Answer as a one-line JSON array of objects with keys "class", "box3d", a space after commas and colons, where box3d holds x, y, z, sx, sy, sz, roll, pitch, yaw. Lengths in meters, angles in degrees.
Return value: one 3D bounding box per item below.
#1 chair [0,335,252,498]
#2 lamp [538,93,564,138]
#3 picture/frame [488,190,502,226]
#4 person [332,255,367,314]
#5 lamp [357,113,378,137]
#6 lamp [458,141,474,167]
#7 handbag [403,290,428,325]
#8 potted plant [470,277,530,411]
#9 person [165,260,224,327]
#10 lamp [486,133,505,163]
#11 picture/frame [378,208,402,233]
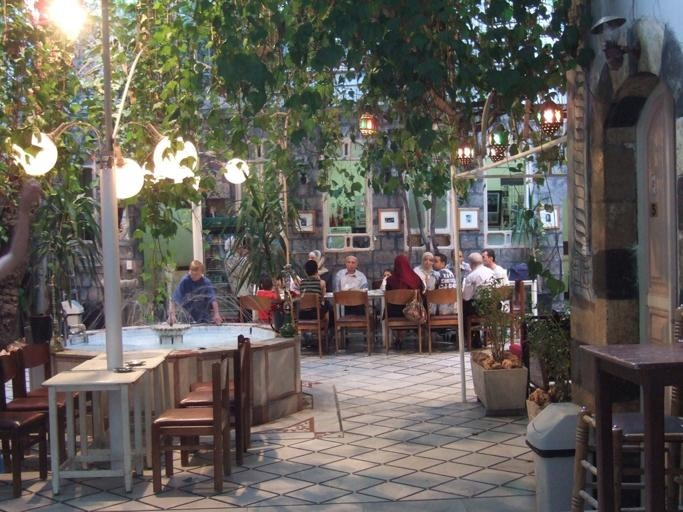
[{"class": "chair", "box3d": [-1.846, 1.356, 7.324, 1.370, 1.087, 1.442, -4, 12, -21]}, {"class": "lamp", "box3d": [1.798, -1.200, 7.354, 0.230, 0.387, 0.561, 3, 12, 14]}, {"class": "picture/frame", "box3d": [2.888, -0.889, 16.186, 0.271, 0.635, 0.235, 0, 11, 1]}, {"class": "person", "box3d": [0.140, 0.528, 13.206, 0.419, 1.078, 0.538, 1, 14, -4]}, {"class": "lamp", "box3d": [0.257, -1.281, 8.377, 0.173, 0.282, 0.191, 0, 1, -7]}, {"class": "lamp", "box3d": [1.314, -1.072, 9.070, 0.149, 0.282, 0.359, 1, 11, 6]}, {"class": "handbag", "box3d": [0.998, 0.720, 11.727, 0.349, 0.537, 0.255, 6, 5, 31]}, {"class": "potted plant", "box3d": [1.667, 0.964, 9.099, 0.409, 1.330, 1.190, -2, 1, 3]}, {"class": "person", "box3d": [-1.777, 0.461, 10.404, 0.545, 0.746, 0.745, -2, 11, -13]}, {"class": "lamp", "box3d": [1.429, -1.014, 7.954, 0.179, 0.370, 0.079, -3, 17, 10]}, {"class": "picture/frame", "box3d": [0.853, -0.650, 15.429, 0.359, 0.435, 0.042, 0, 1, -11]}]
